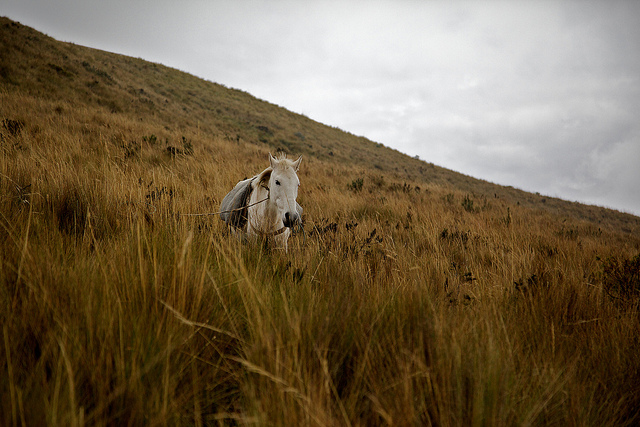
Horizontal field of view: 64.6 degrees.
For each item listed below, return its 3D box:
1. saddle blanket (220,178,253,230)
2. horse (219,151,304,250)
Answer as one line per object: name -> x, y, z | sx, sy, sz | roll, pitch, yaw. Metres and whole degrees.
saddle blanket -> -1.820, -0.165, 11.015 | 0.488, 1.218, 1.463 | 1, -1, 1
horse -> -1.123, -0.310, 10.452 | 2.303, 1.938, 1.112 | 21, 11, 41
